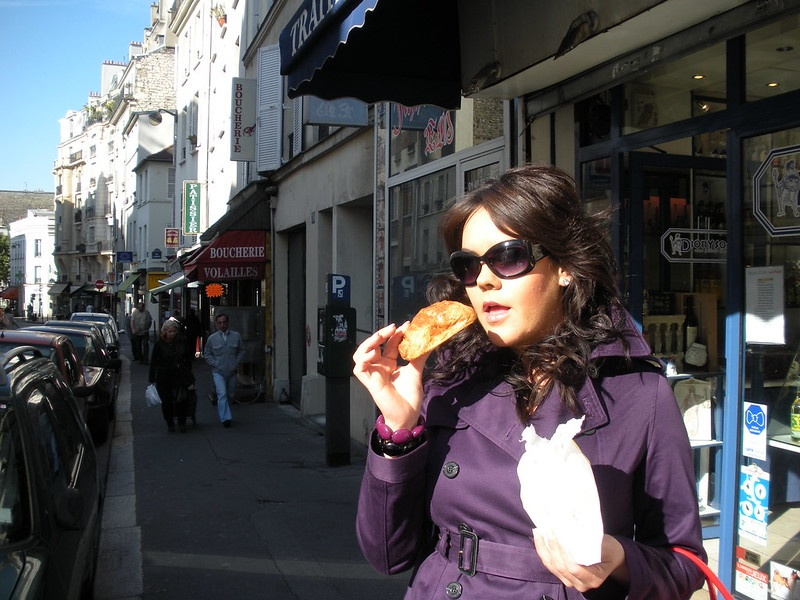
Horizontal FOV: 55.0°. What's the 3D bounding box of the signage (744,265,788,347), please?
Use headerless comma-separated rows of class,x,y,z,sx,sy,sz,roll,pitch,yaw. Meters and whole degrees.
signage,2.375,0.033,4.994,0.231,0.566,0.039,-2,-28,29

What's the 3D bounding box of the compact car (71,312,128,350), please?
compact car,-8.197,0.842,21.067,1.342,1.346,2.471,0,-8,-10

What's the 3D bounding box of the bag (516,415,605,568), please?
bag,0.491,0.586,2.328,0.237,0.444,0.130,-5,-3,6

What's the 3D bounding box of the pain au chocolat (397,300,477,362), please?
pain au chocolat,0.127,0.112,2.896,0.349,0.090,0.214,-30,43,-25

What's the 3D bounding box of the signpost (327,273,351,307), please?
signpost,-0.769,-0.122,9.582,0.345,0.536,0.053,-1,-4,-23

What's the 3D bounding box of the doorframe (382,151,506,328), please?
doorframe,0.306,-0.768,8.685,0.110,1.678,2.066,4,-5,-32

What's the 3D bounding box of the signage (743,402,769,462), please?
signage,2.330,0.866,5.048,0.159,0.388,0.008,5,-29,20
